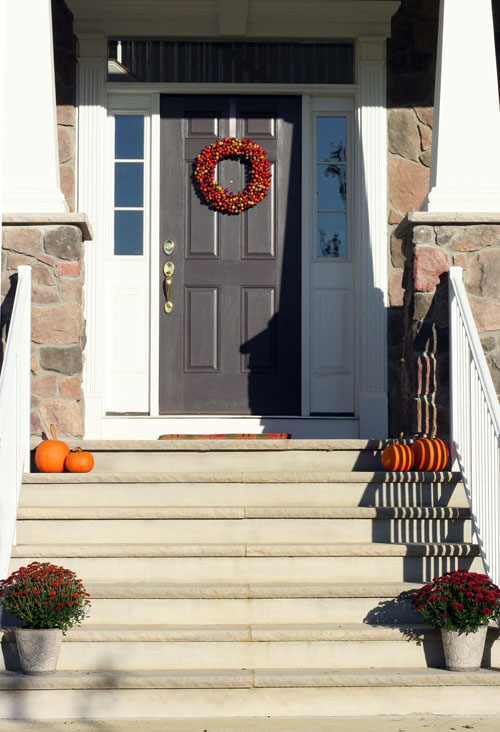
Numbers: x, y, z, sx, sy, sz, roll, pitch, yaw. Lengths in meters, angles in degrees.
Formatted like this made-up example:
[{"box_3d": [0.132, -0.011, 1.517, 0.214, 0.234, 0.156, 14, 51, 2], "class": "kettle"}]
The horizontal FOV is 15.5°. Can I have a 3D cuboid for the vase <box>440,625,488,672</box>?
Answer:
[{"box_3d": [0.895, 1.159, 7.595, 0.198, 0.183, 0.197, -2, 3, -33], "class": "vase"}]

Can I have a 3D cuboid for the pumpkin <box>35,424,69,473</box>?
[{"box_3d": [-0.958, 0.403, 8.660, 0.141, 0.239, 0.146, 4, -9, -17], "class": "pumpkin"}]

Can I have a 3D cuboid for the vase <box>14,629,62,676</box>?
[{"box_3d": [-0.867, 1.157, 7.478, 0.163, 0.164, 0.181, 0, -18, 1], "class": "vase"}]

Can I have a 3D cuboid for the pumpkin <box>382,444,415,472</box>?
[{"box_3d": [0.695, 0.433, 8.494, 0.139, 0.122, 0.241, 0, 5, 0], "class": "pumpkin"}]

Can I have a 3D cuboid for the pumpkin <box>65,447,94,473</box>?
[{"box_3d": [-0.808, 0.458, 8.600, 0.094, 0.101, 0.105, -1, -26, 4], "class": "pumpkin"}]

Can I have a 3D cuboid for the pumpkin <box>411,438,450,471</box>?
[{"box_3d": [0.854, 0.416, 8.445, 0.114, 0.248, 0.218, 0, -1, -27], "class": "pumpkin"}]
